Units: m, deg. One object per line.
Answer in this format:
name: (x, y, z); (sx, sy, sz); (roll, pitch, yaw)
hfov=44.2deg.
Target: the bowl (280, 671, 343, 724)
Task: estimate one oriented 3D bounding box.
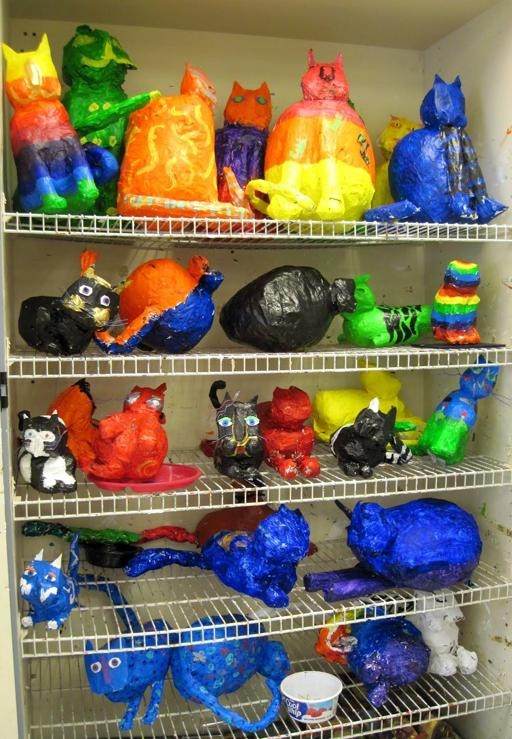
bowl: (0.109, 0.630, 1.181); (0.117, 0.049, 0.117); (-3, -15, -1)
